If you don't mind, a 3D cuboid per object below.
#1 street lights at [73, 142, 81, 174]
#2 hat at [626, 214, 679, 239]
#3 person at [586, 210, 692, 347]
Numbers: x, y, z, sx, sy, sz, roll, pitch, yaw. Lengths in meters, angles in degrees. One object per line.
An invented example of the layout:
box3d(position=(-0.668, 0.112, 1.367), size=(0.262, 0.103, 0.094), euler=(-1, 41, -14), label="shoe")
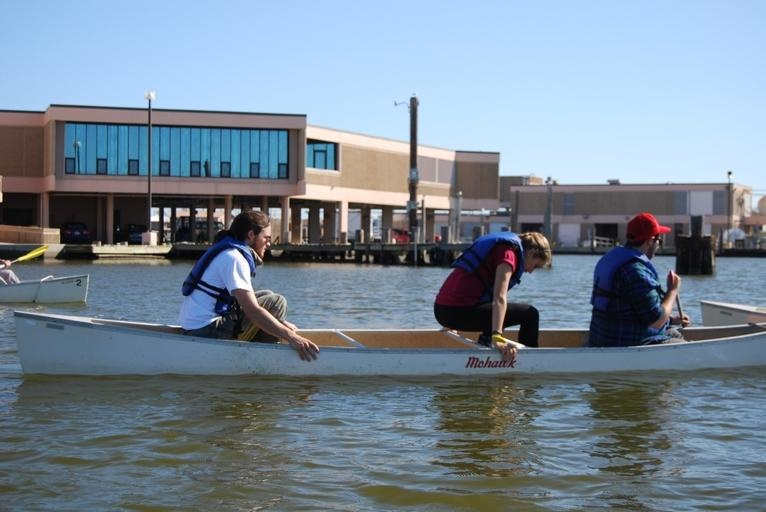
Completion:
box3d(position=(-13.600, -4.448, 54.156), size=(0.330, 1.454, 0.249), euler=(0, 1, -13), label="street lights")
box3d(position=(3.577, -0.382, 16.255), size=(0.580, 0.283, 0.359), euler=(-13, 15, -23), label="hat")
box3d(position=(3.391, 0.348, 16.483), size=(1.077, 1.809, 0.896), euler=(1, 0, -11), label="person")
